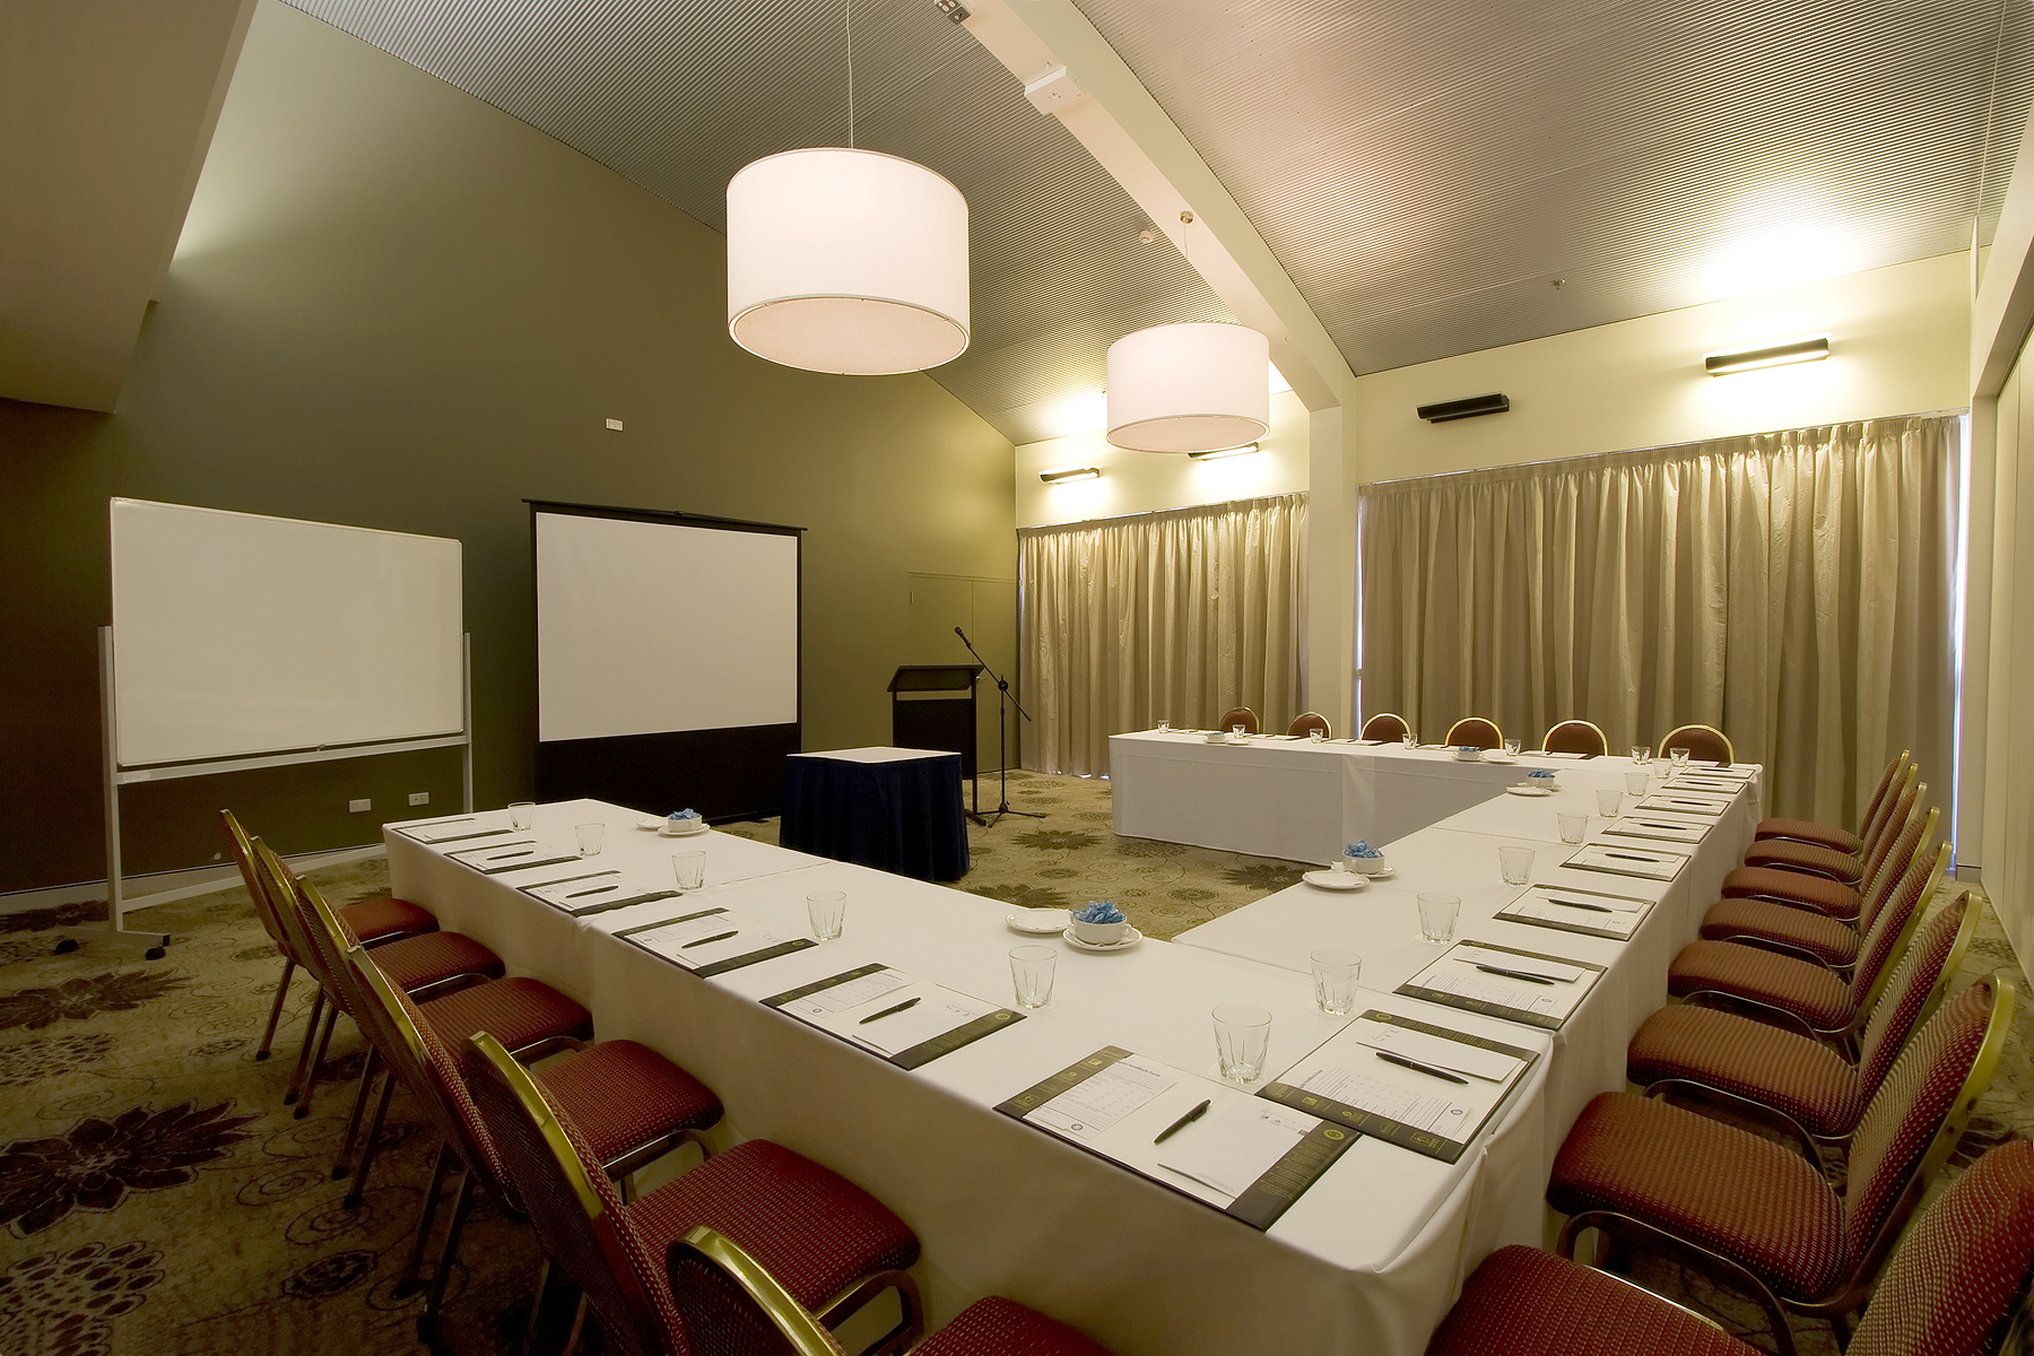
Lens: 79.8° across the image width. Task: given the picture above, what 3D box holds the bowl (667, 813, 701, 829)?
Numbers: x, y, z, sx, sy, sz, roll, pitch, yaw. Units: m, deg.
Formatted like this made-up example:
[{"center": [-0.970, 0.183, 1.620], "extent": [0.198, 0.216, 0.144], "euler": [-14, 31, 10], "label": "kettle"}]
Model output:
[{"center": [-1.549, 0.662, 5.646], "extent": [0.085, 0.033, 0.088], "euler": [1, 0, 0], "label": "bowl"}]

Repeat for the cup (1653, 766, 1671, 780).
[{"center": [3.676, 0.548, 6.932], "extent": [0.092, 0.082, 0.101], "euler": [-1, -2, -10], "label": "cup"}]

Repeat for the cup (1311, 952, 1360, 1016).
[{"center": [1.078, 1.038, 4.125], "extent": [0.177, 0.200, 0.182], "euler": [-1, -8, 0], "label": "cup"}]

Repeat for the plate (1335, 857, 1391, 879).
[{"center": [1.472, 0.797, 5.088], "extent": [0.125, 0.048, 0.105], "euler": [-1, 2, -10], "label": "plate"}]

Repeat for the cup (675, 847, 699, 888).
[{"center": [-1.323, 0.783, 4.913], "extent": [0.117, 0.130, 0.123], "euler": [-2, -5, 0], "label": "cup"}]

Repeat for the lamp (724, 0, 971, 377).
[{"center": [-0.689, -1.753, 5.123], "extent": [1.022, 0.803, 0.606], "euler": [-3, 4, -11], "label": "lamp"}]

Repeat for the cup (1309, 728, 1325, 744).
[{"center": [2.171, 0.418, 8.785], "extent": [0.083, 0.069, 0.088], "euler": [-1, 0, 0], "label": "cup"}]

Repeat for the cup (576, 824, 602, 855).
[{"center": [-1.839, 0.701, 5.268], "extent": [0.117, 0.129, 0.124], "euler": [-1, -4, 0], "label": "cup"}]

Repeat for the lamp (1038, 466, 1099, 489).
[{"center": [0.513, -2.011, 12.126], "extent": [0.202, 0.131, 0.747], "euler": [-7, 6, -45], "label": "lamp"}]

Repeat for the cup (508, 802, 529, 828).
[{"center": [-2.375, 0.667, 5.833], "extent": [0.114, 0.135, 0.114], "euler": [1, 5, 0], "label": "cup"}]

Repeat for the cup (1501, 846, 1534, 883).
[{"center": [1.971, 0.754, 4.834], "extent": [0.140, 0.135, 0.144], "euler": [-1, 0, 0], "label": "cup"}]

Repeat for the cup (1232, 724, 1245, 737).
[{"center": [1.670, 0.394, 9.125], "extent": [0.078, 0.092, 0.081], "euler": [0, -4, 0], "label": "cup"}]

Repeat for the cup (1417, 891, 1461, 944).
[{"center": [1.539, 0.876, 4.460], "extent": [0.168, 0.185, 0.166], "euler": [-2, -3, 0], "label": "cup"}]

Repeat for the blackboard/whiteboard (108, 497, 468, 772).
[{"center": [-4.369, -0.247, 7.227], "extent": [0.110, 1.207, 1.761], "euler": [0, 0, 34], "label": "blackboard/whiteboard"}]

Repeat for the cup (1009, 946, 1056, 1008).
[{"center": [0.059, 1.029, 4.229], "extent": [0.142, 0.199, 0.230], "euler": [-2, 4, 3], "label": "cup"}]

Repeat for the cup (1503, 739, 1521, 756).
[{"center": [3.097, 0.443, 7.620], "extent": [0.079, 0.099, 0.084], "euler": [1, -4, 0], "label": "cup"}]
